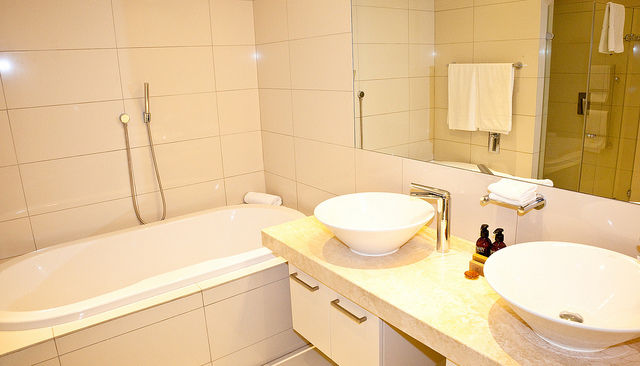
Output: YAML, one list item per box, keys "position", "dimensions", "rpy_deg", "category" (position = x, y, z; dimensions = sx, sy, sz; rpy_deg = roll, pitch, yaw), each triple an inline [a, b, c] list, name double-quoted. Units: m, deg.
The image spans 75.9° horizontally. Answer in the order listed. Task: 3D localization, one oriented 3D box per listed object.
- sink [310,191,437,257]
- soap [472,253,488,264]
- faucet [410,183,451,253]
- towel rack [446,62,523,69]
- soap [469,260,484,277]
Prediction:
- position: [0.333, 0.260, 2.619]
  dimensions: [0.705, 0.278, 0.543]
  rpy_deg: [-7, 20, -9]
  category: "sink"
- position: [0.925, 0.428, 2.350]
  dimensions: [0.087, 0.054, 0.047]
  rpy_deg: [7, 10, 34]
  category: "soap"
- position: [0.691, 0.207, 2.524]
  dimensions: [0.122, 0.416, 0.243]
  rpy_deg: [-22, 27, -37]
  category: "faucet"
- position: [1.029, -0.731, 2.549]
  dimensions: [0.439, 0.043, 0.017]
  rpy_deg: [13, 27, 38]
  category: "towel rack"
- position: [0.892, 0.487, 2.323]
  dimensions: [0.089, 0.079, 0.039]
  rpy_deg: [13, 23, 26]
  category: "soap"
